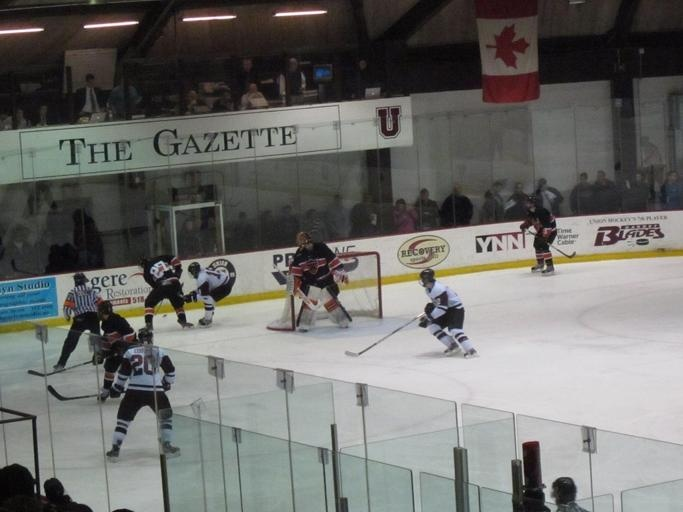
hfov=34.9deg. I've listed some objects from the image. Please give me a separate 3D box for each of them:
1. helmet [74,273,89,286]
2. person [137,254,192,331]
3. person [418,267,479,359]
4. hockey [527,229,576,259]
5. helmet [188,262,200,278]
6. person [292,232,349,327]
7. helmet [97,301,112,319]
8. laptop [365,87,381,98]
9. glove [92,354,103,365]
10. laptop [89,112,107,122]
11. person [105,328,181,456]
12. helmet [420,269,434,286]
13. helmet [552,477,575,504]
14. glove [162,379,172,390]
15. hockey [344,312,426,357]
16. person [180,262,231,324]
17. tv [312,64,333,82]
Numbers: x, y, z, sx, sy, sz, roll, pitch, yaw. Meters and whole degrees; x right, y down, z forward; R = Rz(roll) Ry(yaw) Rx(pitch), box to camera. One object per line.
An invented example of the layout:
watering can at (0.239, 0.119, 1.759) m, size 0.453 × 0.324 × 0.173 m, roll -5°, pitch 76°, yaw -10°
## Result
helmet at (-3.877, 0.425, 16.288) m, size 0.220 × 0.287 × 0.226 m, roll 1°, pitch 15°, yaw -8°
person at (-2.996, 0.637, 18.366) m, size 0.905 × 0.789 × 1.543 m, roll 6°, pitch 36°, yaw -24°
person at (1.651, 0.930, 16.800) m, size 0.757 × 1.305 × 0.545 m, roll 3°, pitch -41°, yaw -11°
hockey at (4.060, -0.260, 21.135) m, size 1.580 × 0.213 × 0.212 m, roll 16°, pitch -18°, yaw -33°
helmet at (-2.447, 0.236, 18.174) m, size 0.201 × 0.251 × 0.252 m, roll -3°, pitch 8°, yaw -33°
person at (-0.343, 0.400, 17.553) m, size 0.888 × 1.609 × 0.291 m, roll -5°, pitch 11°, yaw -5°
helmet at (-2.928, 0.694, 13.744) m, size 0.174 × 0.211 × 0.220 m, roll -4°, pitch 8°, yaw -41°
laptop at (0.636, -3.302, 22.057) m, size 0.361 × 0.232 × 0.245 m, roll -1°, pitch 9°, yaw -7°
glove at (-2.688, 1.136, 12.000) m, size 0.096 × 0.129 × 0.048 m, roll 3°, pitch 2°, yaw -9°
laptop at (-4.523, -2.592, 20.213) m, size 0.301 × 0.146 × 0.658 m, roll -5°, pitch 11°, yaw -10°
person at (-2.211, 1.530, 12.024) m, size 0.803 × 1.420 × 0.189 m, roll -3°, pitch 11°, yaw 5°
helmet at (1.225, 0.311, 15.729) m, size 0.237 × 0.222 × 0.185 m, roll 8°, pitch 8°, yaw 35°
helmet at (2.162, 2.276, 10.648) m, size 0.201 × 0.246 × 0.256 m, roll 2°, pitch 9°, yaw 21°
glove at (-1.914, 1.423, 12.018) m, size 0.112 × 0.117 × 0.084 m, roll 5°, pitch 4°, yaw -12°
hockey at (0.691, 1.254, 16.962) m, size 0.138 × 0.230 × 1.677 m, roll 3°, pitch -21°, yaw -43°
person at (-2.265, 0.523, 18.664) m, size 1.133 × 1.354 × 0.636 m, roll -1°, pitch 9°, yaw -12°
tv at (-0.402, -3.762, 22.273) m, size 0.405 × 0.281 × 0.052 m, roll -2°, pitch 7°, yaw -12°
